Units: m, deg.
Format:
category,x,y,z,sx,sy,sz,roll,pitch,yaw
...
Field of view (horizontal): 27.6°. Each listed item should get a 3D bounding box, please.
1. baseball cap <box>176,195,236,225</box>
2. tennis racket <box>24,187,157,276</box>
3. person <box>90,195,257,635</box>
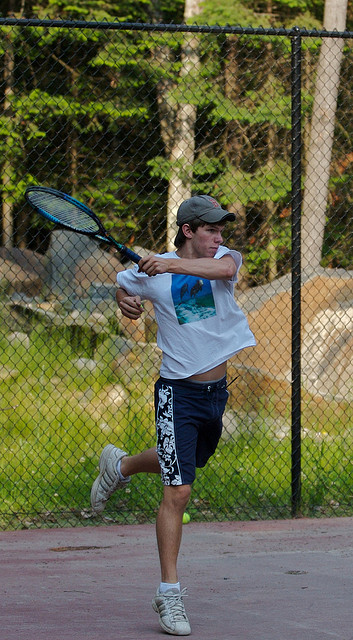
category,x,y,z,sx,sy,sz,roll,pitch,yaw
baseball cap,0.119,-0.438,2.903,0.199,0.095,0.123,-8,-6,34
tennis racket,-0.383,-0.422,3.171,0.580,0.369,0.303,-1,-2,30
person,-0.020,0.346,3.184,0.518,1.697,1.127,1,-2,-19
